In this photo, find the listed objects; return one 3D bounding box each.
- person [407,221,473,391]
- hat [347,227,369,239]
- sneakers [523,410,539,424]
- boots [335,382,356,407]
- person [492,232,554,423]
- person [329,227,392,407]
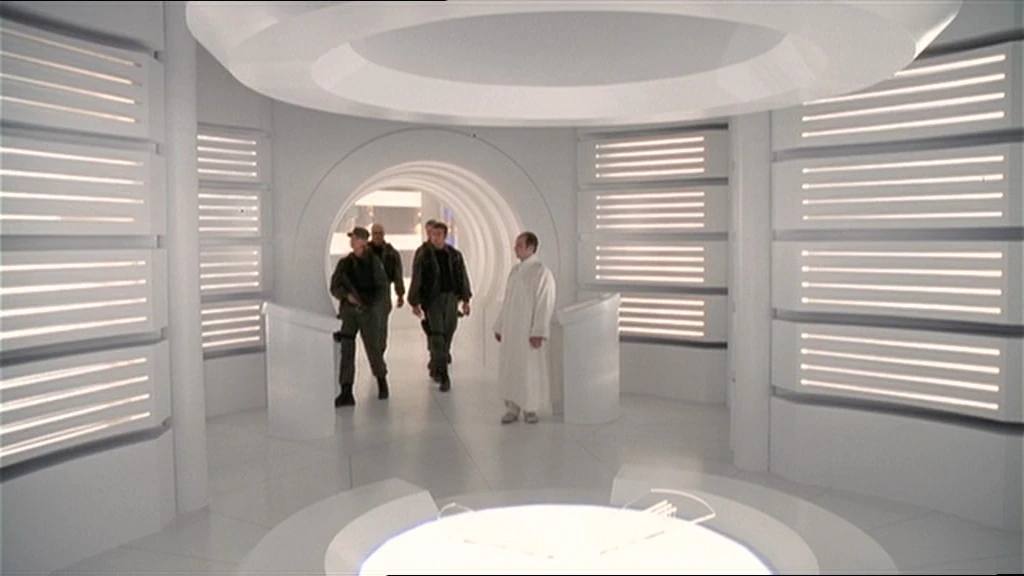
[{"bbox_3d":[-1.004,0.194,7.941,0.820,2.220,0.856,-1,5,-4],"label":"person"},{"bbox_3d":[-1.941,-0.696,7.355,0.191,0.137,0.371,-1,6,-10],"label":"hat"},{"bbox_3d":[0.223,1.471,6.664,0.136,0.081,0.137,0,7,5],"label":"sneakers"},{"bbox_3d":[-2.045,1.287,7.115,0.223,0.280,0.209,-2,6,-15],"label":"boots"},{"bbox_3d":[0.153,0.438,6.734,0.638,2.147,0.512,-1,5,-3],"label":"person"},{"bbox_3d":[-1.898,0.327,7.266,0.716,2.152,0.473,-3,6,-23],"label":"person"}]
